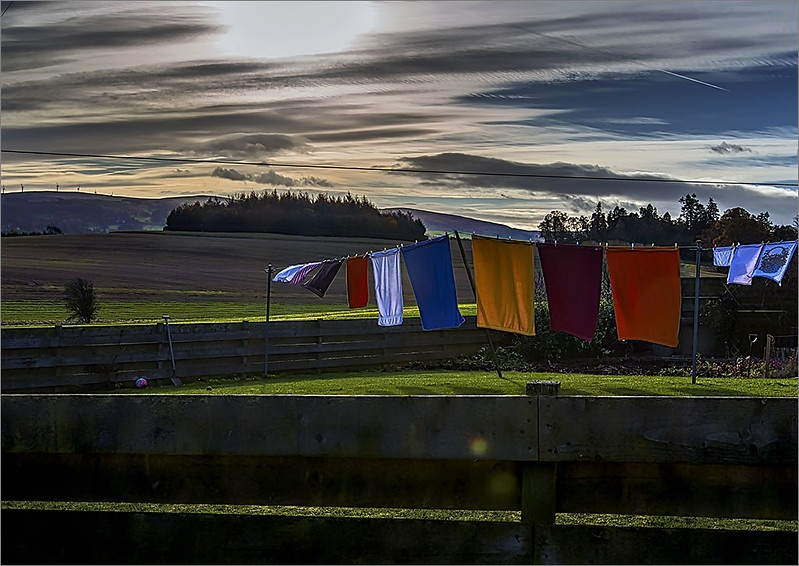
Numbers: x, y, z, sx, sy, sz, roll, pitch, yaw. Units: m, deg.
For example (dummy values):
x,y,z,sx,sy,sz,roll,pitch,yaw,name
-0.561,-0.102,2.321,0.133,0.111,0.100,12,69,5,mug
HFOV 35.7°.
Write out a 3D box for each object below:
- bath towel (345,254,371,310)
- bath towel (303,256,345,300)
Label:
x,y,z,sx,sy,sz,roll,pitch,yaw,name
-1.698,-0.054,49.152,0.738,2.077,1.203,0,0,-38,bath towel
-2.971,-0.220,49.261,1.382,1.525,1.294,0,0,-5,bath towel
